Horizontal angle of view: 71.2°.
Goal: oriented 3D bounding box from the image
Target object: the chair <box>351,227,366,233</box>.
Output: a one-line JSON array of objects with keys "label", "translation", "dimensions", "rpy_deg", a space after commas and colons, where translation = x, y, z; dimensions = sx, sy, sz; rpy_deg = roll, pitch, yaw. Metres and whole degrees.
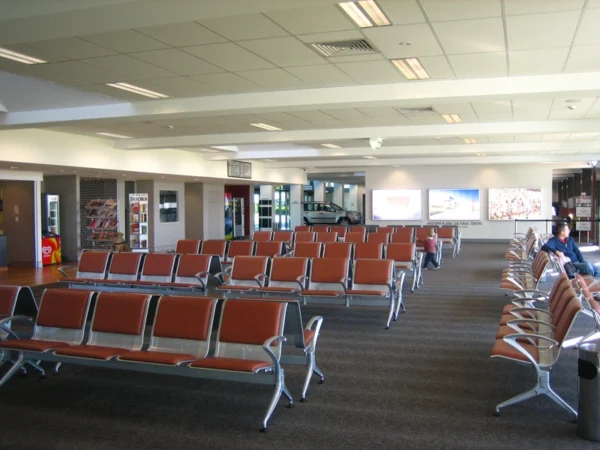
[{"label": "chair", "translation": [1.811, 0.128, 13.109], "dimensions": [0.407, 0.188, 0.147], "rpy_deg": [-3, -15, 20]}]

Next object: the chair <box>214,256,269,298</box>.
[{"label": "chair", "translation": [-0.998, 0.834, 7.102], "dimensions": [0.912, 0.875, 0.775], "rpy_deg": [0, 0, 17]}]

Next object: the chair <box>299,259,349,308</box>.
[{"label": "chair", "translation": [0.444, 0.872, 6.573], "dimensions": [0.800, 0.612, 0.749], "rpy_deg": [0, 1, 16]}]

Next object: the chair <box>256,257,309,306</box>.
[{"label": "chair", "translation": [-0.195, 0.805, 6.812], "dimensions": [0.947, 0.797, 0.742], "rpy_deg": [1, 4, 23]}]

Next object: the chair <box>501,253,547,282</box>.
[{"label": "chair", "translation": [3.802, 0.699, 6.957], "dimensions": [0.706, 0.612, 0.493], "rpy_deg": [2, 1, 9]}]

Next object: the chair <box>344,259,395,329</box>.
[{"label": "chair", "translation": [1.128, 0.904, 6.433], "dimensions": [0.808, 0.887, 1.072], "rpy_deg": [0, -1, 17]}]

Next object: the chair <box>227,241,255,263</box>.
[{"label": "chair", "translation": [-1.300, 0.547, 9.035], "dimensions": [0.476, 0.548, 0.459], "rpy_deg": [0, -4, 12]}]

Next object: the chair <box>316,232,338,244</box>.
[{"label": "chair", "translation": [0.761, 0.341, 11.652], "dimensions": [0.415, 0.239, 0.288], "rpy_deg": [0, -3, 9]}]

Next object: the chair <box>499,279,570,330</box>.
[{"label": "chair", "translation": [2.540, 0.916, 4.469], "dimensions": [0.799, 0.440, 0.725], "rpy_deg": [-2, -1, 15]}]

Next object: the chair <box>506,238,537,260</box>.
[{"label": "chair", "translation": [5.940, 0.616, 11.216], "dimensions": [0.781, 0.781, 0.696], "rpy_deg": [3, 0, 14]}]

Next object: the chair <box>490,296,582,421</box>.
[{"label": "chair", "translation": [2.064, 1.136, 3.720], "dimensions": [0.659, 1.030, 0.826], "rpy_deg": [1, 4, 24]}]

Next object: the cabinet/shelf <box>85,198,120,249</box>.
[{"label": "cabinet/shelf", "translation": [-6.377, -0.052, 13.621], "dimensions": [0.888, 1.571, 1.348], "rpy_deg": [-2, 4, -27]}]

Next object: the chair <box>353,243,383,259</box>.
[{"label": "chair", "translation": [1.365, 0.430, 8.293], "dimensions": [0.471, 0.271, 0.344], "rpy_deg": [3, 6, 18]}]

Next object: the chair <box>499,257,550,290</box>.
[{"label": "chair", "translation": [4.065, 0.870, 7.546], "dimensions": [0.648, 0.497, 0.944], "rpy_deg": [-3, 1, 17]}]

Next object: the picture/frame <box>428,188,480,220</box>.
[{"label": "picture/frame", "translation": [7.317, -1.037, 19.667], "dimensions": [1.785, 1.009, 0.043], "rpy_deg": [1, -1, 15]}]

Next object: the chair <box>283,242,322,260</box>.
[{"label": "chair", "translation": [0.169, 0.521, 8.815], "dimensions": [0.400, 0.446, 0.377], "rpy_deg": [0, -27, 16]}]

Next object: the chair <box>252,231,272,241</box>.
[{"label": "chair", "translation": [-1.105, 0.305, 12.029], "dimensions": [0.535, 0.238, 0.339], "rpy_deg": [-1, 2, 13]}]

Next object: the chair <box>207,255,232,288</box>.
[{"label": "chair", "translation": [-1.500, 0.828, 7.626], "dimensions": [0.531, 0.579, 0.520], "rpy_deg": [1, -3, -9]}]

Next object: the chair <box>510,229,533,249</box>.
[{"label": "chair", "translation": [7.362, 0.443, 13.943], "dimensions": [0.796, 0.780, 0.851], "rpy_deg": [1, 0, 16]}]

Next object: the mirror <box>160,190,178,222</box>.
[{"label": "mirror", "translation": [-5.206, -0.779, 16.779], "dimensions": [0.301, 1.291, 1.079], "rpy_deg": [0, 3, 20]}]

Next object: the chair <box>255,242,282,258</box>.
[{"label": "chair", "translation": [-0.662, 0.499, 8.862], "dimensions": [0.479, 0.277, 0.323], "rpy_deg": [2, 4, 19]}]

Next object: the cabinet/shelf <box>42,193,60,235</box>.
[{"label": "cabinet/shelf", "translation": [-8.315, -0.403, 14.031], "dimensions": [0.535, 1.333, 0.458], "rpy_deg": [-3, 4, -29]}]

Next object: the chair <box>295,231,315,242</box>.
[{"label": "chair", "translation": [0.146, 0.306, 11.794], "dimensions": [0.392, 0.288, 0.500], "rpy_deg": [0, -1, 20]}]

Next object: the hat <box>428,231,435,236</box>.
[{"label": "hat", "translation": [3.676, 0.220, 11.725], "dimensions": [0.130, 0.146, 0.326], "rpy_deg": [1, 3, 22]}]

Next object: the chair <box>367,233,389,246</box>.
[{"label": "chair", "translation": [2.093, 0.327, 11.023], "dimensions": [0.500, 0.232, 0.321], "rpy_deg": [3, -3, 23]}]

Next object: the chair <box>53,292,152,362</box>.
[{"label": "chair", "translation": [-1.911, 0.998, 4.144], "dimensions": [0.675, 0.423, 0.689], "rpy_deg": [0, 4, 23]}]

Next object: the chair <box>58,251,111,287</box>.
[{"label": "chair", "translation": [-4.467, 0.923, 8.693], "dimensions": [1.073, 0.826, 0.708], "rpy_deg": [0, -1, 13]}]

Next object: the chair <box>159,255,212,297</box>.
[{"label": "chair", "translation": [-1.864, 0.865, 7.556], "dimensions": [0.869, 0.841, 0.730], "rpy_deg": [1, 3, 15]}]

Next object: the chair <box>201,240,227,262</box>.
[{"label": "chair", "translation": [-1.791, 0.544, 8.812], "dimensions": [0.498, 0.412, 0.248], "rpy_deg": [4, 5, 22]}]

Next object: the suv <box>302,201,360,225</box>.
[{"label": "suv", "translation": [2.313, -0.873, 30.068], "dimensions": [3.864, 1.361, 1.641], "rpy_deg": [-1, 2, 9]}]

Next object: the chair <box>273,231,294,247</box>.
[{"label": "chair", "translation": [-0.503, 0.371, 11.965], "dimensions": [0.440, 0.533, 0.463], "rpy_deg": [0, -4, 9]}]

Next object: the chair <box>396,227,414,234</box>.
[{"label": "chair", "translation": [3.404, 0.134, 13.591], "dimensions": [0.374, 0.222, 0.196], "rpy_deg": [-1, -6, 24]}]

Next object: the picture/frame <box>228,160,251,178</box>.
[{"label": "picture/frame", "translation": [-2.400, -2.252, 16.828], "dimensions": [0.182, 0.710, 1.485], "rpy_deg": [1, 3, 27]}]

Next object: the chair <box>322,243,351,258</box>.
[{"label": "chair", "translation": [0.768, 0.474, 8.205], "dimensions": [0.442, 0.259, 0.316], "rpy_deg": [2, 7, 25]}]

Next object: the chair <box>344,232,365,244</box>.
[{"label": "chair", "translation": [1.570, 0.346, 11.918], "dimensions": [0.426, 0.287, 0.406], "rpy_deg": [0, -4, 18]}]

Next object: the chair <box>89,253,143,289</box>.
[{"label": "chair", "translation": [-3.290, 0.775, 7.697], "dimensions": [0.874, 0.638, 0.622], "rpy_deg": [1, 3, 16]}]

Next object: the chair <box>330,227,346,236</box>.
[{"label": "chair", "translation": [1.235, 0.173, 13.261], "dimensions": [0.374, 0.304, 0.319], "rpy_deg": [-1, -7, 16]}]

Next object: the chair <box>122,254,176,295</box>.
[{"label": "chair", "translation": [-2.653, 0.824, 7.678], "dimensions": [0.863, 0.705, 0.670], "rpy_deg": [1, 0, 13]}]

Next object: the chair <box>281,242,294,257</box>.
[{"label": "chair", "translation": [-0.296, 0.592, 10.096], "dimensions": [0.279, 0.320, 0.343], "rpy_deg": [2, -7, 0]}]

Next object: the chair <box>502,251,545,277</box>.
[{"label": "chair", "translation": [3.948, 0.696, 7.272], "dimensions": [0.698, 0.634, 0.489], "rpy_deg": [3, 1, 12]}]
